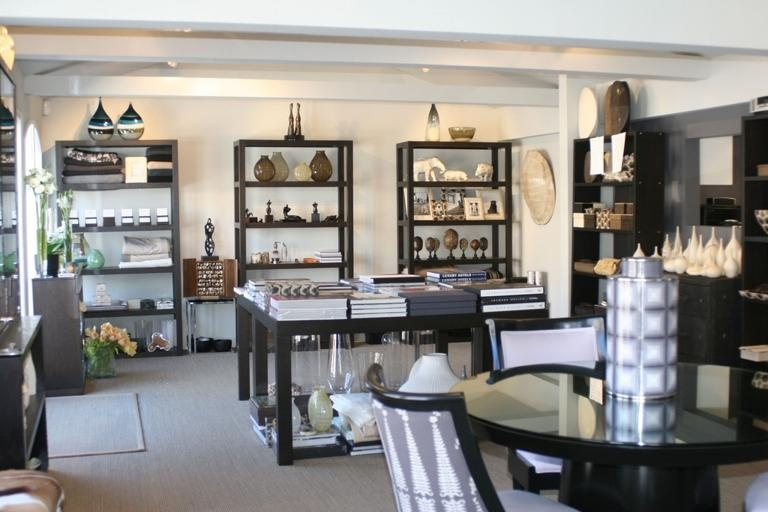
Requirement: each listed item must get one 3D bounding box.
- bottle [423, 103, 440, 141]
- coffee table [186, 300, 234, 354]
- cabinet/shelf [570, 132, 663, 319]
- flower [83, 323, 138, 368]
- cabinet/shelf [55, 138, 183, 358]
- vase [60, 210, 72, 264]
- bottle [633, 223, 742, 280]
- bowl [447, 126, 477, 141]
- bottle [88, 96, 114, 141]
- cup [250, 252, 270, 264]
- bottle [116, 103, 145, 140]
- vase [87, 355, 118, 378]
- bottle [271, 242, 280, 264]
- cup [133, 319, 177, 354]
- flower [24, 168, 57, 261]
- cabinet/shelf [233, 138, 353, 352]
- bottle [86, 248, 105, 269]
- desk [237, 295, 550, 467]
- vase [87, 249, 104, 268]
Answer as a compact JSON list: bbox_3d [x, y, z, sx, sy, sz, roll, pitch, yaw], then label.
[{"bbox_3d":[0.646,-1.788,8.277,0.170,0.493,0.281,0,6,4],"label":"bottle"},{"bbox_3d":[-2.269,0.918,7.948,0.681,0.657,0.225,-1,0,-40],"label":"coffee table"},{"bbox_3d":[2.484,-0.312,6.746,0.628,2.015,0.956,-4,7,-29],"label":"cabinet/shelf"},{"bbox_3d":[-2.976,0.949,6.696,0.503,0.447,0.300,-3,7,-25],"label":"flower"},{"bbox_3d":[-3.223,-0.062,7.567,1.348,2.673,0.647,-2,7,-24],"label":"cabinet/shelf"},{"bbox_3d":[-3.410,-0.205,6.646,0.072,0.540,0.214,-3,7,-28],"label":"vase"},{"bbox_3d":[3.044,-0.070,6.016,0.432,0.474,0.884,-3,7,-21],"label":"bottle"},{"bbox_3d":[1.068,-1.664,8.346,0.309,0.220,0.400,3,7,27],"label":"bowl"},{"bbox_3d":[-3.414,-1.644,7.445,0.276,0.519,0.354,-3,7,-24],"label":"bottle"},{"bbox_3d":[-1.586,0.026,7.907,0.221,0.121,0.236,0,6,0],"label":"cup"},{"bbox_3d":[-3.060,-1.624,7.449,0.284,0.452,0.327,-3,7,-23],"label":"bottle"},{"bbox_3d":[-3.016,1.194,6.689,0.322,0.316,0.233,3,5,-15],"label":"vase"},{"bbox_3d":[-1.404,-0.046,7.996,0.109,0.245,0.387,-1,6,-10],"label":"bottle"},{"bbox_3d":[-2.837,0.936,7.676,0.453,0.438,0.457,0,3,0],"label":"cup"},{"bbox_3d":[-3.272,-0.393,5.914,0.231,0.894,0.655,-4,7,-29],"label":"flower"},{"bbox_3d":[-1.124,-0.659,8.126,1.340,2.304,0.558,-1,1,-11],"label":"cabinet/shelf"},{"bbox_3d":[-3.456,0.049,7.372,0.204,0.201,0.203,-2,3,-44],"label":"bottle"},{"bbox_3d":[-0.484,0.724,5.068,1.960,0.943,1.363,-1,2,-20],"label":"desk"},{"bbox_3d":[-3.433,0.043,7.342,0.199,0.199,0.201,2,3,35],"label":"vase"}]
